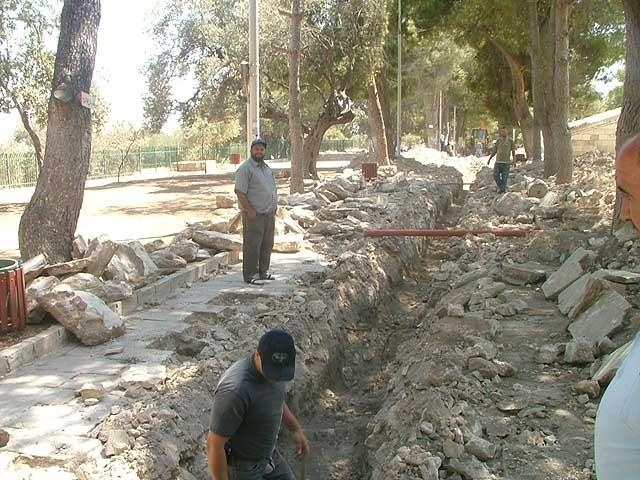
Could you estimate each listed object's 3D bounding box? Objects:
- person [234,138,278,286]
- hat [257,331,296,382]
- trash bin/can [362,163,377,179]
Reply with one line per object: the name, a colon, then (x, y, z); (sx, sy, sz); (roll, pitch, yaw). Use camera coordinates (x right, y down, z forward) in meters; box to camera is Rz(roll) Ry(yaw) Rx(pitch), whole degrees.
person: (-1.020, -0.423, 8.919); (0.658, 2.371, 0.615); (-6, 12, -9)
hat: (-0.302, 0.844, 3.925); (0.221, 0.388, 0.163); (1, -33, -15)
trash bin/can: (1.939, -2.573, 20.608); (0.487, 0.630, 0.529); (-1, -3, 22)
